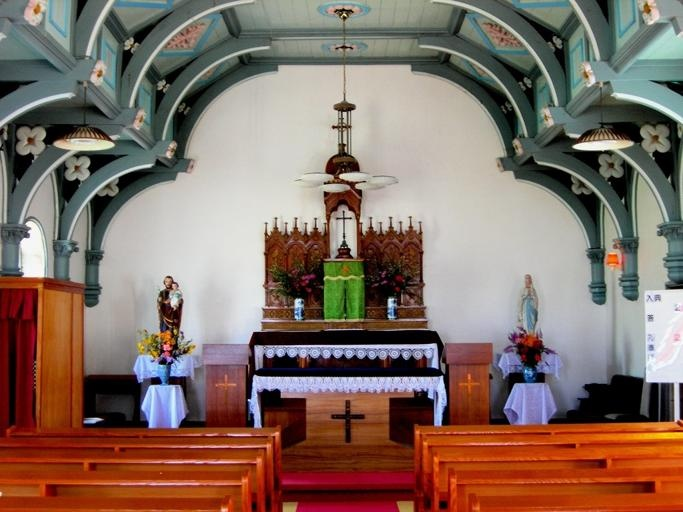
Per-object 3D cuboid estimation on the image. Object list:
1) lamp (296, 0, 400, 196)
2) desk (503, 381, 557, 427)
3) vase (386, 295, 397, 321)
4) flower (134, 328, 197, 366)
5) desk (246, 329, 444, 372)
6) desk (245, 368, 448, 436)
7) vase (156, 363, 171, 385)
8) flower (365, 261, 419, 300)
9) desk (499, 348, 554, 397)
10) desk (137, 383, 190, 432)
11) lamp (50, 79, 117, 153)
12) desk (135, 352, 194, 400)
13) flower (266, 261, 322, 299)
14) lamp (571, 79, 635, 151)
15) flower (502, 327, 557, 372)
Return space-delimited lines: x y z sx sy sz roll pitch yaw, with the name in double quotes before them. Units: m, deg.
"lamp" 0.066 -2.423 15.860 1.406 2.723 2.169 0 -6 1
"desk" 2.978 2.325 15.322 0.749 0.776 0.676 0 -8 -3
"vase" 0.864 0.874 16.259 0.168 0.385 0.294 0 -6 3
"flower" -2.711 1.386 15.005 0.681 0.513 0.715 -1 3 -3
"desk" 0.077 1.451 15.272 2.964 0.620 0.907 0 -6 -1
"desk" 0.110 1.983 13.614 2.949 0.853 0.729 -2 -1 16
"vase" -2.700 1.802 14.909 0.190 0.329 0.361 1 -6 -11
"flower" 0.839 0.388 16.235 0.838 0.620 0.677 0 -6 1
"desk" 3.070 1.891 16.013 0.790 0.627 0.610 -9 -15 31
"desk" -2.738 2.273 15.006 0.789 0.796 0.638 1 -9 -13
"lamp" -3.322 -1.837 12.613 0.730 0.823 0.730 -5 -4 41
"desk" -2.968 1.935 16.158 1.068 0.791 0.787 1 8 -20
"flower" -0.709 0.425 16.285 0.615 0.561 0.755 -2 -1 20
"lamp" 3.331 -1.817 12.457 0.684 0.819 0.721 -1 -3 21
"flower" 2.856 1.464 15.434 0.616 0.689 0.600 11 7 34
